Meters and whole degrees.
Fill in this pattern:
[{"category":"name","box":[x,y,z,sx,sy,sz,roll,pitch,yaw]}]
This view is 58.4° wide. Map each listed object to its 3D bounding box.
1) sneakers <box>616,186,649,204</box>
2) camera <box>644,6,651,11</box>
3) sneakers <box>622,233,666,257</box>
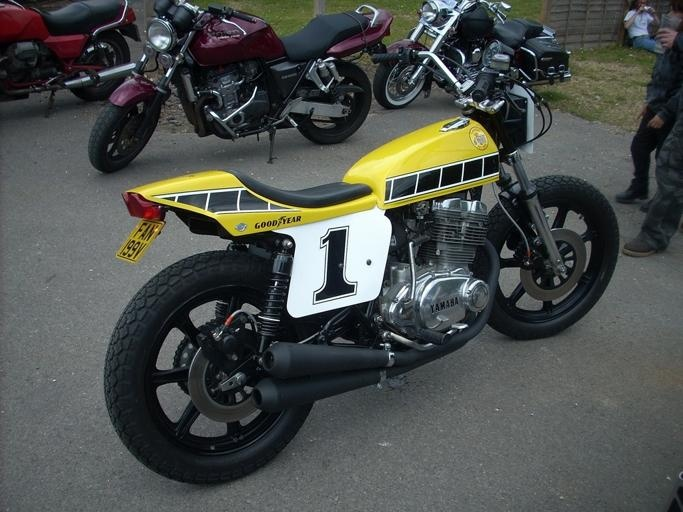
[{"category":"sneakers","box":[2.919,-0.639,6.265,0.372,0.176,0.138,-2,31,0]},{"category":"camera","box":[6.452,-5.256,12.852,0.101,0.034,0.124,8,51,4]},{"category":"sneakers","box":[2.640,-0.109,5.341,0.431,0.179,0.168,-1,15,-7]}]
